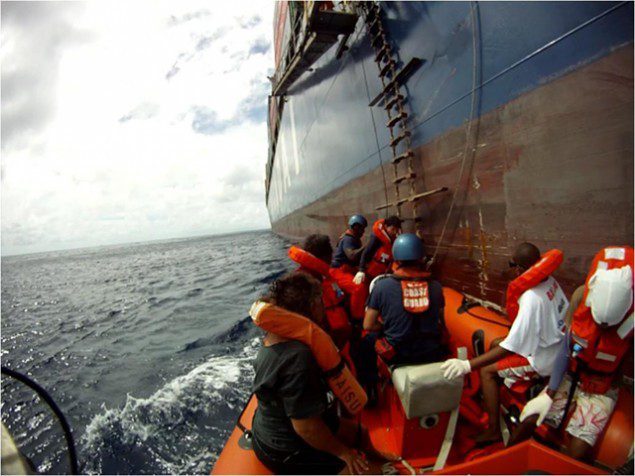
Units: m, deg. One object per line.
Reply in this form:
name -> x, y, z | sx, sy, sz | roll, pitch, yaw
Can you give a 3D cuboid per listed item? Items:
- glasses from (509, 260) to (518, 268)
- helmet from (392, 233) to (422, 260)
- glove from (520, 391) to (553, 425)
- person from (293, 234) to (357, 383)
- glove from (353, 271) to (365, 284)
glasses -> 1.863, 0.250, 3.293 | 0.059, 0.048, 0.060 | -1, 3, -2
helmet -> 0.933, 0.073, 3.616 | 0.244, 0.275, 0.285 | -1, 9, 3
glove -> 1.877, 1.453, 2.958 | 0.178, 0.304, 0.091 | 33, -1, 33
person -> 0.221, 0.916, 4.757 | 0.664, 2.164, 0.607 | -18, 21, -7
glove -> 0.642, 0.606, 5.247 | 0.137, 0.184, 0.048 | 17, -5, 9
